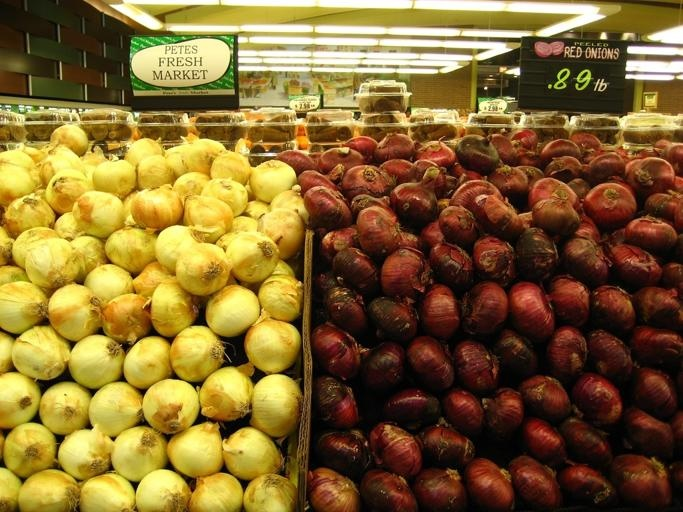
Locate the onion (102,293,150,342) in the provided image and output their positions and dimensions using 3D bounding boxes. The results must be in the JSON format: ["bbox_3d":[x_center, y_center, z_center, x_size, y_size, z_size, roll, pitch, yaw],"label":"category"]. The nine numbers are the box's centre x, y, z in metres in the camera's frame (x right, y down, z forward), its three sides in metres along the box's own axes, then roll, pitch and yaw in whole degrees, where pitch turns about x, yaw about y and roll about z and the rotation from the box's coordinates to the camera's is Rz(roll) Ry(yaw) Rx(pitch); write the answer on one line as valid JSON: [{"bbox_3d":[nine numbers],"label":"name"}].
[{"bbox_3d":[-0.831,0.245,2.019,0.177,0.169,0.118,-7,21,-23],"label":"onion"}]

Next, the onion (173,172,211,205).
[{"bbox_3d":[-0.652,-0.311,2.399,0.174,0.094,0.138,-27,49,-16],"label":"onion"}]

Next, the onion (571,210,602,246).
[{"bbox_3d":[1.052,-0.116,2.242,0.153,0.086,0.119,30,9,-7],"label":"onion"}]

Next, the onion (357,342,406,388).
[{"bbox_3d":[0.155,0.400,1.995,0.170,0.159,0.102,-33,54,-26],"label":"onion"}]

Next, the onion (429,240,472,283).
[{"bbox_3d":[0.431,0.039,2.071,0.149,0.101,0.148,26,26,-39],"label":"onion"}]

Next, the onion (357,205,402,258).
[{"bbox_3d":[0.134,-0.092,2.102,0.140,0.192,0.189,-27,49,23],"label":"onion"}]

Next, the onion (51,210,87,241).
[{"bbox_3d":[-1.197,-0.128,2.291,0.120,0.078,0.136,-1,38,-6],"label":"onion"}]

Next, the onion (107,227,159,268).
[{"bbox_3d":[-0.863,-0.031,2.228,0.184,0.169,0.169,-3,18,-2],"label":"onion"}]

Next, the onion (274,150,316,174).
[{"bbox_3d":[-0.226,-0.462,2.531,0.175,0.098,0.130,6,-1,-13],"label":"onion"}]

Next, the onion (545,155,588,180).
[{"bbox_3d":[1.074,-0.428,2.508,0.144,0.081,0.136,-11,41,15],"label":"onion"}]

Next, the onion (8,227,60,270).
[{"bbox_3d":[-1.264,-0.046,2.208,0.163,0.103,0.186,-8,26,10],"label":"onion"}]

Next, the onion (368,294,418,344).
[{"bbox_3d":[0.219,0.247,2.036,0.167,0.153,0.174,36,-8,32],"label":"onion"}]

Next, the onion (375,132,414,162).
[{"bbox_3d":[0.266,-0.534,2.658,0.160,0.153,0.159,-27,-5,5],"label":"onion"}]

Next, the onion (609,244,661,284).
[{"bbox_3d":[1.207,0.044,2.178,0.176,0.156,0.106,28,74,27],"label":"onion"}]

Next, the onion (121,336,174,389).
[{"bbox_3d":[-0.759,0.412,2.003,0.199,0.170,0.192,-3,21,-5],"label":"onion"}]

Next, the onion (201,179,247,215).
[{"bbox_3d":[-0.514,-0.260,2.314,0.143,0.129,0.128,11,0,-14],"label":"onion"}]

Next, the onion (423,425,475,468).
[{"bbox_3d":[0.380,0.697,1.891,0.162,0.108,0.159,13,46,6],"label":"onion"}]

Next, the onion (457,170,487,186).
[{"bbox_3d":[0.600,-0.355,2.387,0.108,0.056,0.084,1,5,7],"label":"onion"}]

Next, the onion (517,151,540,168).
[{"bbox_3d":[0.954,-0.497,2.675,0.095,0.088,0.093,3,1,4],"label":"onion"}]

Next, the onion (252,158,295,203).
[{"bbox_3d":[-0.339,-0.357,2.504,0.215,0.195,0.215,3,6,-36],"label":"onion"}]

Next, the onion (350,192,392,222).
[{"bbox_3d":[0.124,-0.211,2.197,0.139,0.100,0.132,-4,4,-19],"label":"onion"}]

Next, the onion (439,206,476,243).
[{"bbox_3d":[0.455,-0.121,2.122,0.142,0.090,0.143,33,25,-11],"label":"onion"}]

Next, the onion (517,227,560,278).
[{"bbox_3d":[0.757,-0.018,2.095,0.124,0.178,0.183,-11,38,16],"label":"onion"}]

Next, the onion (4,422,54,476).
[{"bbox_3d":[-1.149,0.719,1.913,0.138,0.137,0.135,-45,-1,-8],"label":"onion"}]

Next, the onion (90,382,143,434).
[{"bbox_3d":[-0.827,0.564,1.915,0.199,0.211,0.177,10,-21,-33],"label":"onion"}]

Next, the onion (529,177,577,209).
[{"bbox_3d":[0.921,-0.273,2.230,0.157,0.100,0.144,-13,53,-16],"label":"onion"}]

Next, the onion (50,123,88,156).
[{"bbox_3d":[-1.449,-0.615,2.764,0.151,0.159,0.253,-2,19,-10],"label":"onion"}]

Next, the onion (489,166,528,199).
[{"bbox_3d":[0.766,-0.328,2.425,0.159,0.159,0.153,18,69,20],"label":"onion"}]

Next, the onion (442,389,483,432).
[{"bbox_3d":[0.442,0.572,1.961,0.079,0.130,0.148,-37,57,-17],"label":"onion"}]

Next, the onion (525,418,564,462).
[{"bbox_3d":[0.759,0.699,1.989,0.143,0.139,0.089,39,72,18],"label":"onion"}]

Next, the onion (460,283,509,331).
[{"bbox_3d":[0.553,0.207,2.012,0.171,0.199,0.107,2,19,3],"label":"onion"}]

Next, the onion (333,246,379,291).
[{"bbox_3d":[0.073,0.058,2.048,0.157,0.165,0.091,24,57,36],"label":"onion"}]

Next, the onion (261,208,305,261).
[{"bbox_3d":[-0.240,-0.090,2.214,0.214,0.195,0.212,-1,1,35],"label":"onion"}]

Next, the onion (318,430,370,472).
[{"bbox_3d":[0.009,0.723,1.913,0.197,0.126,0.113,-1,19,-6],"label":"onion"}]

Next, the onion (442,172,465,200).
[{"bbox_3d":[0.510,-0.330,2.418,0.126,0.094,0.047,-46,38,-10],"label":"onion"}]

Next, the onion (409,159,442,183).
[{"bbox_3d":[0.363,-0.372,2.261,0.104,0.070,0.126,-1,8,-1],"label":"onion"}]

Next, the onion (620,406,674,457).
[{"bbox_3d":[1.177,0.697,2.079,0.155,0.104,0.185,-36,72,-6],"label":"onion"}]

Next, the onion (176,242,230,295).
[{"bbox_3d":[-0.528,0.066,1.994,0.199,0.211,0.110,-4,20,-14],"label":"onion"}]
